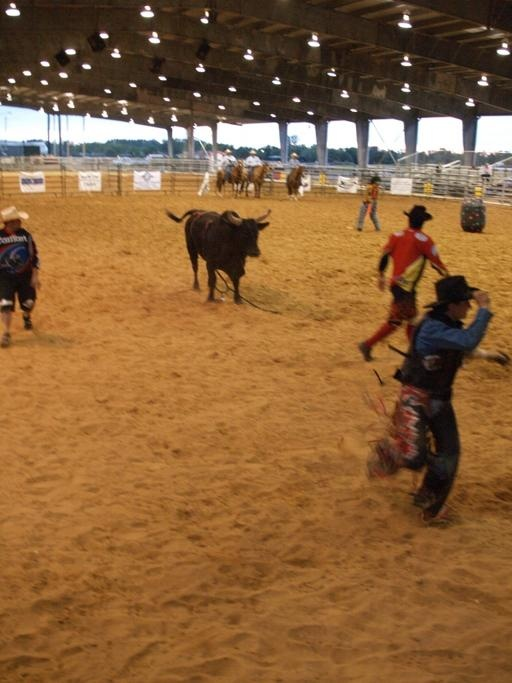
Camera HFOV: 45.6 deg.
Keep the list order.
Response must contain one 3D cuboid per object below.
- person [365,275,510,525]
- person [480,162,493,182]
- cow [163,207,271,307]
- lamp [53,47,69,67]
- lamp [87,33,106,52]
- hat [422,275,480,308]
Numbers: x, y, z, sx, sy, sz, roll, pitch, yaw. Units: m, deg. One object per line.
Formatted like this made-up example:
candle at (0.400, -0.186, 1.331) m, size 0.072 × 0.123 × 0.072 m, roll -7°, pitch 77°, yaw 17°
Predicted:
person at (1.186, 0.403, 3.859) m, size 0.607 × 1.640 × 0.894 m, roll -4°, pitch 9°, yaw -23°
person at (10.269, -7.457, 27.194) m, size 0.491 × 0.927 × 1.484 m, roll 3°, pitch 8°, yaw 17°
cow at (-0.520, -1.345, 9.454) m, size 0.937 × 1.522 × 2.256 m, roll -1°, pitch 8°, yaw -11°
lamp at (-7.122, -10.153, 21.768) m, size 0.200 × 0.623 × 0.681 m, roll -7°, pitch 31°, yaw 14°
lamp at (-5.111, -9.633, 19.396) m, size 0.495 × 0.638 × 0.923 m, roll -1°, pitch 8°, yaw -11°
hat at (1.178, -0.298, 3.659) m, size 0.228 × 0.199 × 0.323 m, roll -2°, pitch 8°, yaw -13°
